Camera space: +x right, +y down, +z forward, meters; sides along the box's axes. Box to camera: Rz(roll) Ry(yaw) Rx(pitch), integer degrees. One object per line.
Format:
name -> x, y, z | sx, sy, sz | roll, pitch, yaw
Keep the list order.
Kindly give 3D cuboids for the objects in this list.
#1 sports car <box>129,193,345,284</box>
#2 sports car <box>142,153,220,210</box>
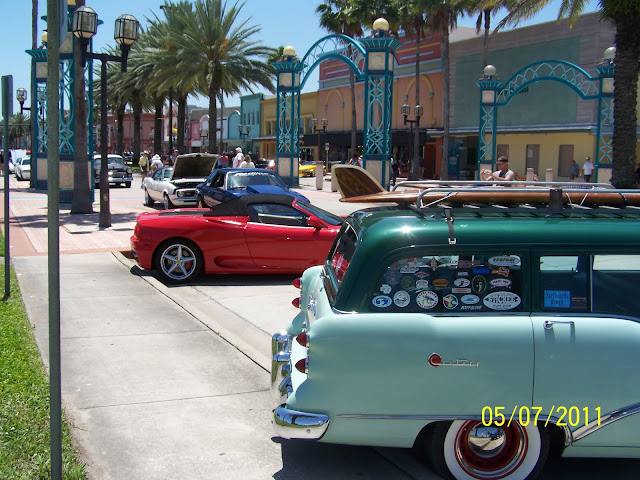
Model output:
sports car -> -1.515, -0.095, 12.734 | 4.404, 1.499, 1.785 | 0, 1, -2
sports car -> -5.161, -2.179, 21.821 | 2.011, 1.938, 4.711 | -1, 1, -34
